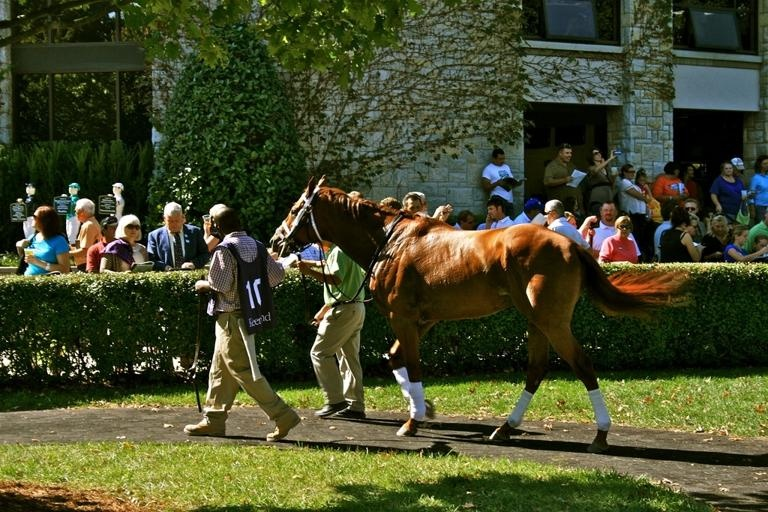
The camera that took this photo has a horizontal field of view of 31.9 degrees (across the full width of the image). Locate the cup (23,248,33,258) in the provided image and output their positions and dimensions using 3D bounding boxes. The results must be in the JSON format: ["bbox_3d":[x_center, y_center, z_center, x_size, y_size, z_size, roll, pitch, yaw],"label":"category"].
[{"bbox_3d":[-6.065,-0.060,22.839,0.177,0.154,0.164,1,-6,0],"label":"cup"}]

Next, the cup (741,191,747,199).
[{"bbox_3d":[7.628,-1.289,28.538,0.178,0.148,0.229,0,-1,7],"label":"cup"}]

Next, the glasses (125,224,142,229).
[{"bbox_3d":[-4.232,-0.505,22.639,0.098,0.053,0.238,2,3,42],"label":"glasses"}]

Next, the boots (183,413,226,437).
[{"bbox_3d":[-2.680,2.474,19.691,0.731,0.332,0.254,3,-3,3],"label":"boots"}]

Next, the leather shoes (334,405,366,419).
[{"bbox_3d":[-0.513,2.371,20.536,0.503,0.193,0.165,5,-6,-1],"label":"leather shoes"}]

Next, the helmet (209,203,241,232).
[{"bbox_3d":[-2.336,-0.539,19.661,0.389,0.404,0.527,-16,-3,-18],"label":"helmet"}]
